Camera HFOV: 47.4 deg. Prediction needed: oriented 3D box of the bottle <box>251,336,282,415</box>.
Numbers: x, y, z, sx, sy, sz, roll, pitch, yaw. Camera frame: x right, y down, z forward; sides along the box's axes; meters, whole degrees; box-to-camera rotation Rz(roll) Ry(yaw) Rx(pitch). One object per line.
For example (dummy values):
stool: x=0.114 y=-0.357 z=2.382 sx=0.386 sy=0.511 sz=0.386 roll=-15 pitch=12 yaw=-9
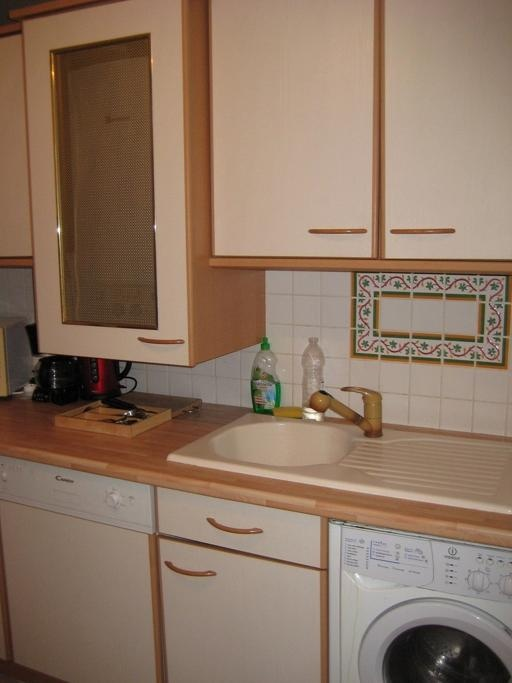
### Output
bottle: x=0.047 y=0.125 z=1.985 sx=0.090 sy=0.269 sz=0.082 roll=1 pitch=17 yaw=0

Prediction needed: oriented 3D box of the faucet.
faucet: x=0.280 y=0.194 z=1.677 sx=0.188 sy=0.153 sz=0.225 roll=6 pitch=12 yaw=31

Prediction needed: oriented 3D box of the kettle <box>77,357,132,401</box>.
kettle: x=-0.565 y=0.135 z=2.206 sx=0.164 sy=0.198 sz=0.129 roll=11 pitch=15 yaw=32

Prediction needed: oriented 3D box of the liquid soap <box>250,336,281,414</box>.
liquid soap: x=0.039 y=0.113 z=1.989 sx=0.090 sy=0.264 sz=0.084 roll=14 pitch=20 yaw=35
